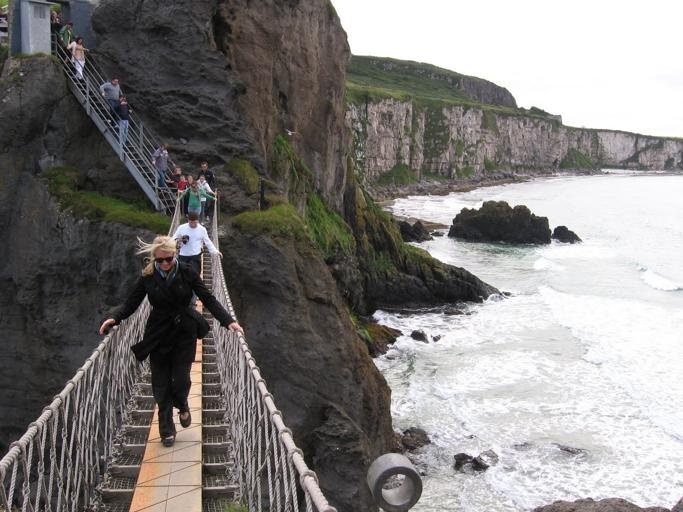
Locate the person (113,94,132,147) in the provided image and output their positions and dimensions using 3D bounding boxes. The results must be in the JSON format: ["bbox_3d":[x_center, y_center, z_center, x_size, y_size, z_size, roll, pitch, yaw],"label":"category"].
[{"bbox_3d":[-6.422,-3.971,20.923,0.380,1.375,1.217,-1,15,-17],"label":"person"}]

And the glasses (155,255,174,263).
[{"bbox_3d":[-2.816,0.046,11.296,0.272,0.110,0.047,1,15,-7],"label":"glasses"}]

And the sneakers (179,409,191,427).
[{"bbox_3d":[-2.637,2.743,12.006,0.123,0.355,0.137,-3,8,1],"label":"sneakers"}]

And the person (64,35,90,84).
[{"bbox_3d":[-7.829,-5.793,21.020,0.460,1.246,0.773,-3,16,-22],"label":"person"}]
